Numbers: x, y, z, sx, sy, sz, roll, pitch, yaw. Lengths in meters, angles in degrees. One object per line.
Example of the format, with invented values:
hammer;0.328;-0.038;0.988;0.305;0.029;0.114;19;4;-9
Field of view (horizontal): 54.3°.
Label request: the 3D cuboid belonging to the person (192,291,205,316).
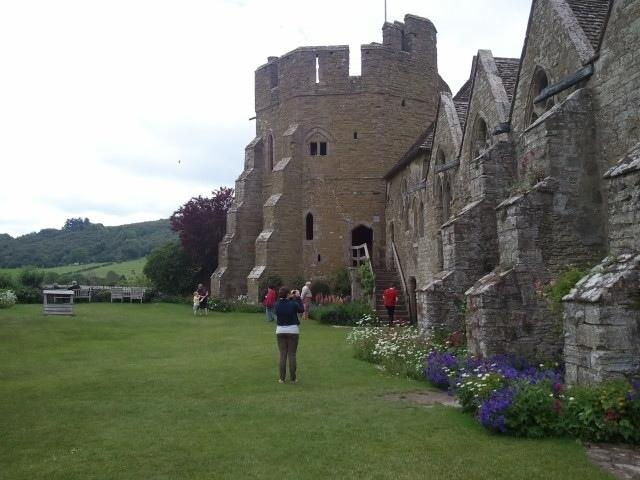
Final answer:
person;-5.915;3.127;31.020;0.563;1.239;1.596;6;-11;-10
